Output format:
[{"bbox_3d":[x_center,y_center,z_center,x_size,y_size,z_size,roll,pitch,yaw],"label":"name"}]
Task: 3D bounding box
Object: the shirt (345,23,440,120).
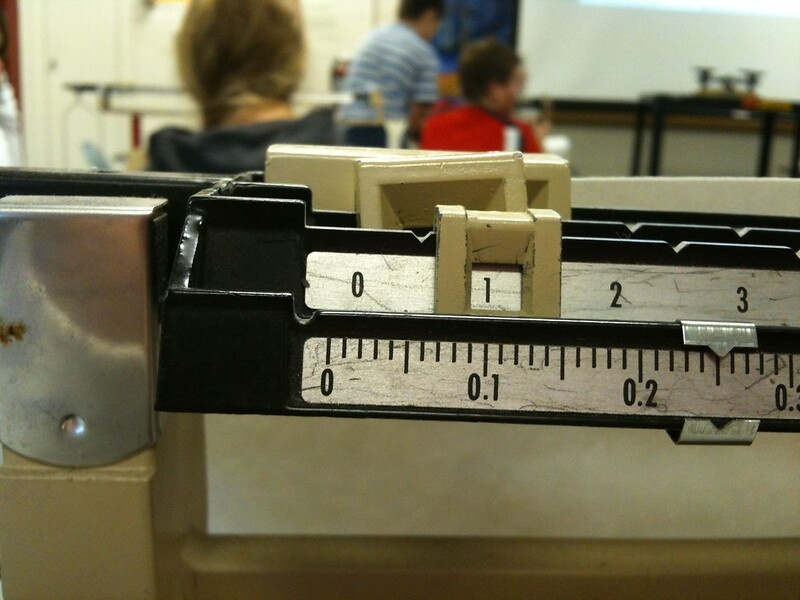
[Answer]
[{"bbox_3d":[-0.021,-0.536,2.855,0.228,0.305,0.112,2,22,-10],"label":"shirt"}]
